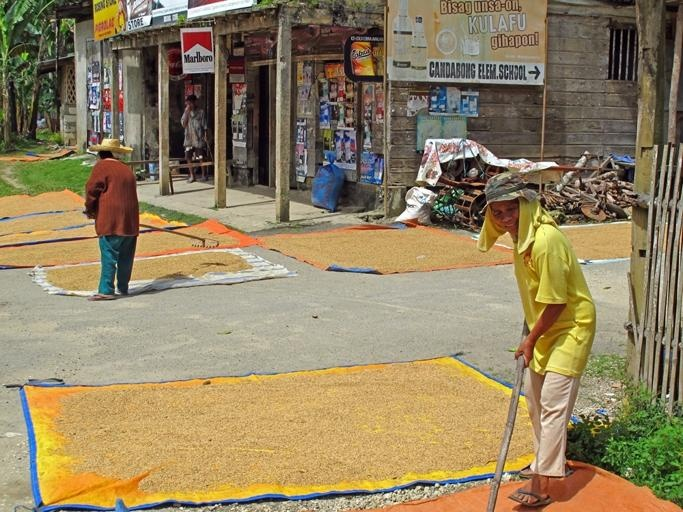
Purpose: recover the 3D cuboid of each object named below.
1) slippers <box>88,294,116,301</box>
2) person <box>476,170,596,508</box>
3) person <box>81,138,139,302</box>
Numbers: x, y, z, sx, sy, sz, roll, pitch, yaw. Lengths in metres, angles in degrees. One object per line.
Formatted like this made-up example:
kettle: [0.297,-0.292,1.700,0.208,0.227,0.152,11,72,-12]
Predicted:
slippers: [-3.083,0.534,10.130,0.286,0.109,0.113,4,4,-16]
person: [1.411,0.599,5.706,0.787,2.385,0.356,2,4,17]
person: [-3.042,-0.520,10.473,0.663,2.089,0.808,-1,4,-20]
